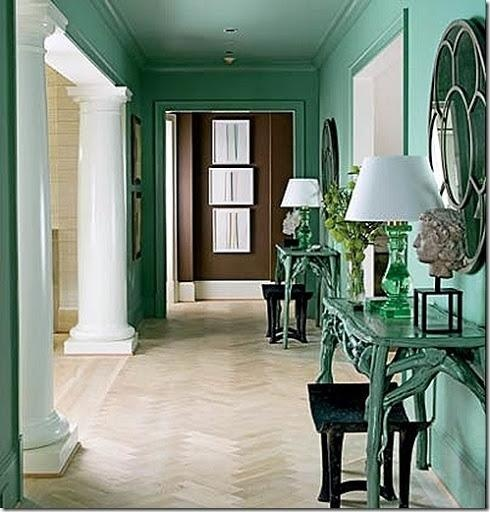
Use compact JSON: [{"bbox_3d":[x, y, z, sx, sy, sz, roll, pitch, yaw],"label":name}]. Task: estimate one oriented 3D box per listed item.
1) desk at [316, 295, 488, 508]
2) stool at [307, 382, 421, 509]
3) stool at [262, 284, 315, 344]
[{"bbox_3d":[0.617,0.580,1.862,0.443,0.716,0.752,-1,2,-4],"label":"desk"},{"bbox_3d":[0.409,0.675,1.861,0.468,0.630,0.432,0,-13,-1],"label":"stool"},{"bbox_3d":[0.441,0.390,4.927,0.403,0.667,0.840,0,3,-1],"label":"stool"}]
